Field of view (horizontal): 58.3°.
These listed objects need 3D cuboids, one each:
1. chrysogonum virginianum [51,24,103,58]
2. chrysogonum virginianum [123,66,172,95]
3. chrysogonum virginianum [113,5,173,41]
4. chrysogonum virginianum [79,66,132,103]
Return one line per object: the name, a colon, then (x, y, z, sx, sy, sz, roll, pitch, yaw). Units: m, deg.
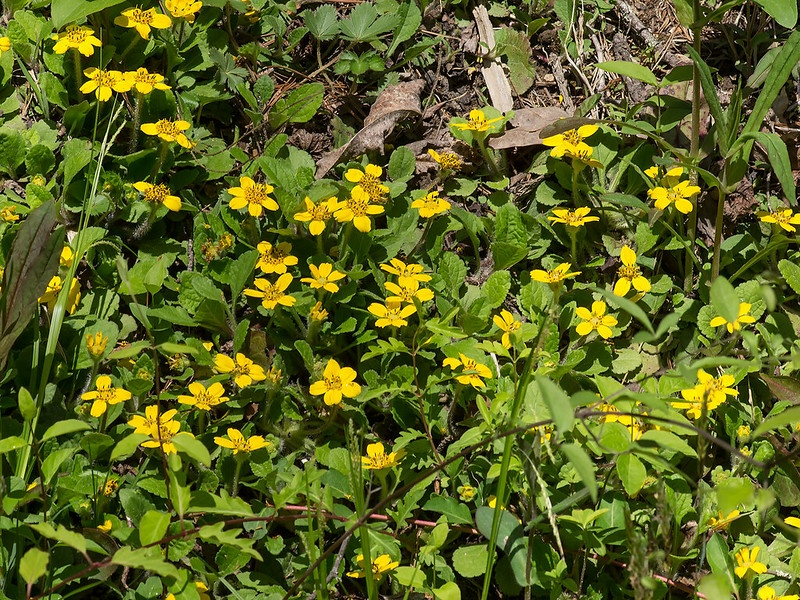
chrysogonum virginianum: (-1.332, -1.061, 2.952, 0.166, 0.099, 0.179, -9, 40, -30)
chrysogonum virginianum: (-1.030, -0.881, 2.892, 0.145, 0.061, 0.149, -18, 53, -35)
chrysogonum virginianum: (-1.082, -1.172, 3.028, 0.211, 0.101, 0.147, 27, 36, 19)
chrysogonum virginianum: (-1.175, -0.864, 2.865, 0.170, 0.072, 0.203, 1, 46, -1)
